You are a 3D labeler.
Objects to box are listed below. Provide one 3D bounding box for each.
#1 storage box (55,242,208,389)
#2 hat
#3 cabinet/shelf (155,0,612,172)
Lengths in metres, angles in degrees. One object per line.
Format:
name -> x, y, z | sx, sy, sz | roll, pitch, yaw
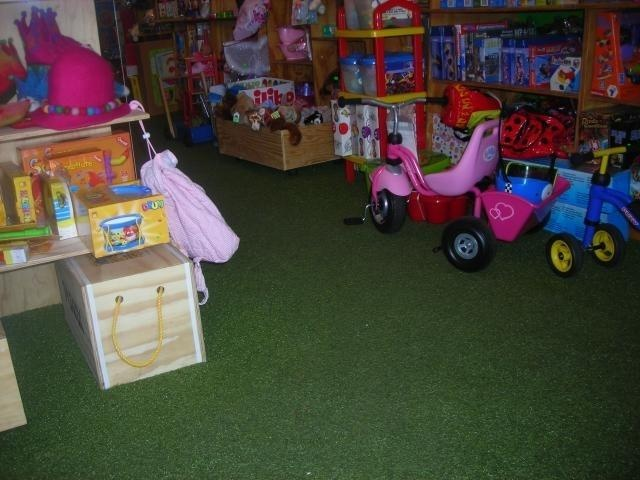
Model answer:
storage box -> -0.701, 0.301, 1.966 | 0.507, 0.539, 0.406 | -11, -2, 5
hat -> -0.905, -0.603, 1.871 | 0.365, 0.259, 0.402 | 8, 26, 7
cabinet/shelf -> 0.456, -1.128, 3.602 | 2.156, 0.796, 0.566 | 18, 27, 40
